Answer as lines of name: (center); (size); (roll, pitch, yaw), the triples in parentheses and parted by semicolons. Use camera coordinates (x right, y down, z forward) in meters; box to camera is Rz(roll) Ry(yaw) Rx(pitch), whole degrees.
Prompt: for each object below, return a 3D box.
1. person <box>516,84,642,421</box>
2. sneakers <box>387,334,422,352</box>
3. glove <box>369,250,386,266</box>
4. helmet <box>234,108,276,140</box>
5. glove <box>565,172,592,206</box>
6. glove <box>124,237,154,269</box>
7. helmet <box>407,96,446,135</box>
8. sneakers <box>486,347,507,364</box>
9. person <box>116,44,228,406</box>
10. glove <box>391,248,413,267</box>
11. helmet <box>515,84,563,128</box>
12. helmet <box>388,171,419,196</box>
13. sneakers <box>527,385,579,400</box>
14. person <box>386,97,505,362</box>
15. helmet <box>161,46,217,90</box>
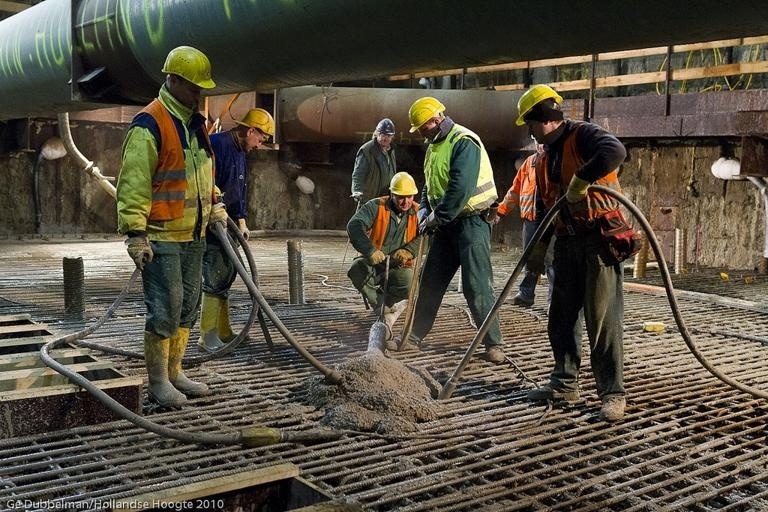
person: (1.269, -0.035, 4.614); (0.777, 2.121, 0.467); (5, 12, 23)
sneakers: (0.158, 0.695, 5.703); (0.318, 0.133, 0.110); (5, -8, -31)
glove: (-0.052, 0.010, 6.357); (0.126, 0.158, 0.199); (1, 11, 2)
helmet: (-0.997, -1.033, 5.643); (0.330, 0.176, 0.238); (17, 21, -27)
glove: (1.219, -0.413, 4.365); (0.134, 0.175, 0.074); (28, 56, 18)
glove: (-1.547, -0.021, 4.448); (0.162, 0.227, 0.148); (-4, 12, -22)
helmet: (0.350, -1.141, 5.635); (0.251, 0.271, 0.560); (1, 11, 4)
sneakers: (0.885, 0.776, 5.502); (0.155, 0.116, 0.110); (2, 11, 7)
person: (-1.380, -0.192, 4.593); (0.385, 2.315, 0.683); (5, 12, 26)
glove: (0.169, 0.009, 6.358); (0.156, 0.156, 0.067); (54, 14, 22)
helmet: (1.000, -1.009, 4.582); (0.316, 0.197, 0.229); (-21, -10, 29)
helmet: (0.174, -0.652, 6.309); (0.186, 0.127, 0.240); (1, 11, -9)
sneakers: (1.172, 0.944, 4.851); (0.350, 0.148, 0.127); (3, -3, 5)
person: (0.521, -0.241, 5.618); (0.791, 2.011, 0.619); (2, 11, 12)
helmet: (-1.235, -1.230, 4.500); (0.313, 0.170, 0.232); (26, 34, 5)
